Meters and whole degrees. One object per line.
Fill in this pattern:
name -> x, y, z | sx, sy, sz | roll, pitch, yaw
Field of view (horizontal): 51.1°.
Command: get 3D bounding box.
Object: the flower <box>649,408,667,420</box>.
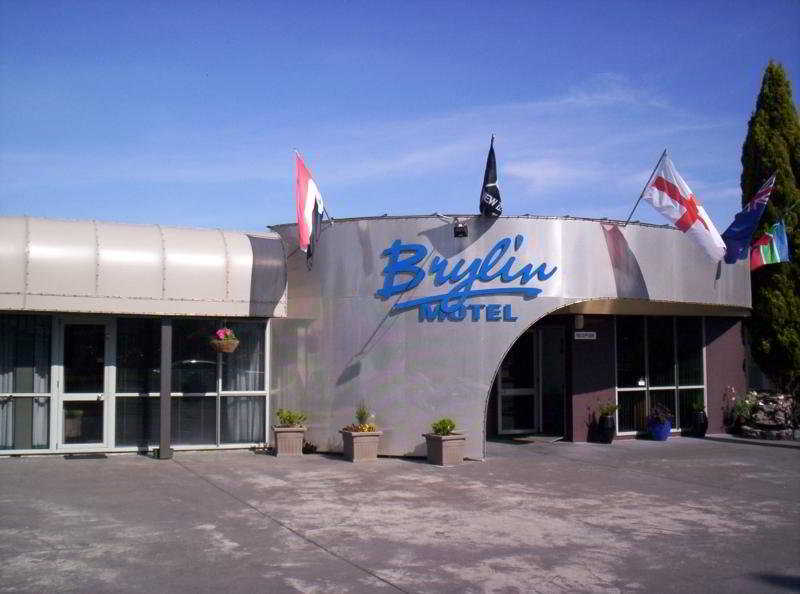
flower -> 7.448, 3.360, 24.069 | 0.314, 0.177, 0.330 | 10, 0, -22

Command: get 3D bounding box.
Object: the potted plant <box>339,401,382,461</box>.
potted plant -> -0.983, 3.291, 20.548 | 1.118, 1.912, 1.085 | 2, -5, -23

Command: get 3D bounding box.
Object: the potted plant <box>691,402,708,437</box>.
potted plant -> 8.726, 3.582, 24.440 | 0.405, 1.002, 0.270 | 2, 3, 16

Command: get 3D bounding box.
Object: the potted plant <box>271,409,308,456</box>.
potted plant -> -2.754, 3.428, 21.025 | 0.965, 1.516, 0.948 | 2, -10, -12

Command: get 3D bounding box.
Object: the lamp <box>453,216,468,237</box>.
lamp -> 1.492, -1.737, 20.740 | 0.343, 0.559, 0.362 | 2, -5, -25

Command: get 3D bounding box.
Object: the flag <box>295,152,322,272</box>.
flag -> -2.205, -2.016, 20.098 | 0.406, 2.626, 1.242 | 1, 3, 5

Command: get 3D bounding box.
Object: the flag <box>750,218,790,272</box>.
flag -> 10.715, -1.500, 24.271 | 1.318, 1.536, 0.328 | 5, 9, 38

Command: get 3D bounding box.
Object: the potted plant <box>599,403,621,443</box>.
potted plant -> 5.733, 3.482, 23.115 | 0.507, 1.045, 0.417 | 1, 3, -3

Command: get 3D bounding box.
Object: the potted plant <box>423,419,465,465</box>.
potted plant -> 1.190, 3.514, 19.930 | 0.884, 1.498, 1.000 | 3, -5, -27

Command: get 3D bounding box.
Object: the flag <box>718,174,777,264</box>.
flag -> 9.558, -2.241, 23.100 | 1.175, 2.627, 3.509 | 2, 3, 28

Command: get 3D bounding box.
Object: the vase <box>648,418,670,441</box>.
vase -> 7.330, 3.812, 23.951 | 0.530, 0.695, 0.592 | 3, -12, -6

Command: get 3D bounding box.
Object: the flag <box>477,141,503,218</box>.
flag -> 2.164, -2.822, 20.010 | 0.449, 1.768, 1.534 | 1, 3, 6
